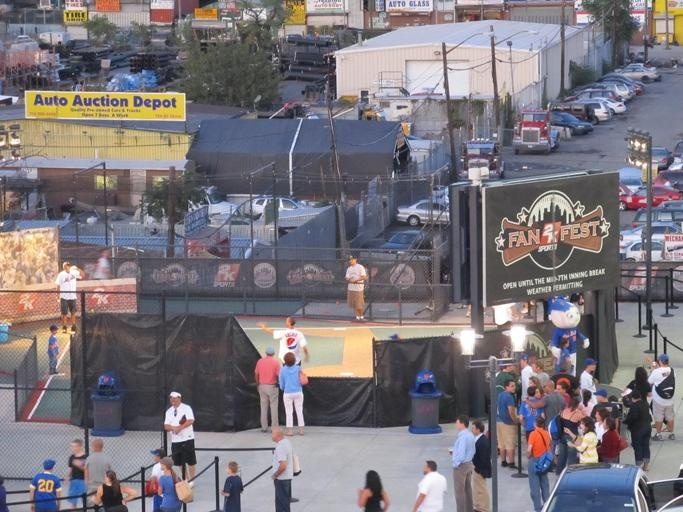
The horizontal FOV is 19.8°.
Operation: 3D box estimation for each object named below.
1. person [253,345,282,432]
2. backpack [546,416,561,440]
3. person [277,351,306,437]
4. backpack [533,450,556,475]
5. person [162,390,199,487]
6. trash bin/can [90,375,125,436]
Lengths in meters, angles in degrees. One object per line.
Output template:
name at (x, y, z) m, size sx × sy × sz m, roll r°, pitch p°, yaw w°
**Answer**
person at (-3.034, 5.441, 81.381) m, size 1.000 × 3.540 × 1.001 m, roll 0°, pitch 11°, yaw 2°
backpack at (8.429, 6.763, 77.382) m, size 0.468 × 0.904 × 0.552 m, roll -4°, pitch 7°, yaw 1°
person at (-1.934, 5.563, 80.938) m, size 1.086 × 3.358 × 1.001 m, roll -2°, pitch 11°, yaw -1°
backpack at (7.931, 8.027, 76.426) m, size 0.462 × 0.910 × 0.905 m, roll 17°, pitch -1°, yaw 25°
person at (-6.440, 7.246, 78.261) m, size 1.112 × 3.733 × 1.000 m, roll -6°, pitch 2°, yaw 1°
trash bin/can at (-9.709, 6.132, 81.170) m, size 1.317 × 2.618 × 0.590 m, roll -5°, pitch 7°, yaw -8°
